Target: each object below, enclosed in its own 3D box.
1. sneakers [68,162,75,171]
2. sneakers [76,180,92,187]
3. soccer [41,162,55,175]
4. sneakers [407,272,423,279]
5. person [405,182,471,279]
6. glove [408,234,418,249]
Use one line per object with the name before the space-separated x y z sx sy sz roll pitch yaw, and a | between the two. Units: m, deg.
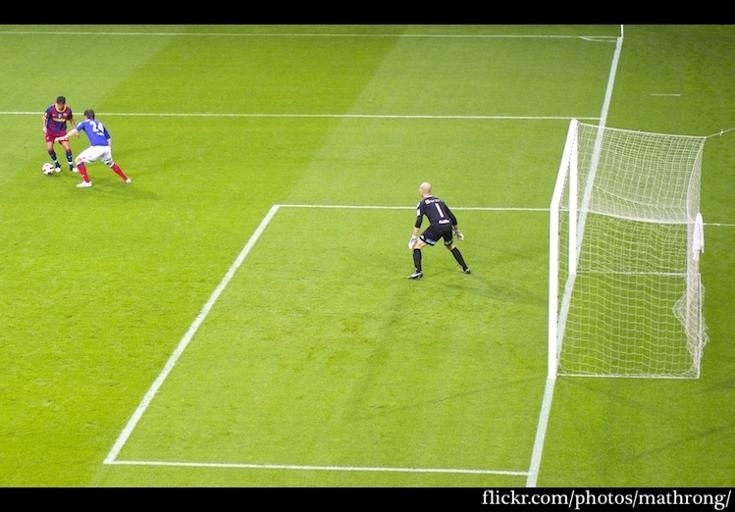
sneakers | -6.482 -1.973 20.379 0.215 0.200 0.094 1 50 -12
sneakers | -6.063 -1.524 19.632 0.366 0.130 0.124 2 12 11
soccer | -6.970 -1.909 20.139 0.256 0.145 0.292 -16 25 -26
sneakers | 0.804 0.342 15.872 0.272 0.101 0.087 -2 14 23
person | 1.248 -0.579 16.142 0.985 1.581 1.542 1 27 4
glove | 0.777 -0.285 15.821 0.112 0.111 0.274 7 38 18
